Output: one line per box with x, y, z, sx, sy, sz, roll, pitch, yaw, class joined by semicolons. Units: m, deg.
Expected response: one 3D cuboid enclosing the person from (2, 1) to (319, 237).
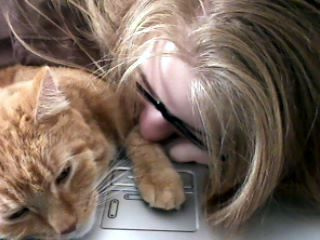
0.037;-0.171;1.267;1.003;0.612;0.478;37;59;21;person
